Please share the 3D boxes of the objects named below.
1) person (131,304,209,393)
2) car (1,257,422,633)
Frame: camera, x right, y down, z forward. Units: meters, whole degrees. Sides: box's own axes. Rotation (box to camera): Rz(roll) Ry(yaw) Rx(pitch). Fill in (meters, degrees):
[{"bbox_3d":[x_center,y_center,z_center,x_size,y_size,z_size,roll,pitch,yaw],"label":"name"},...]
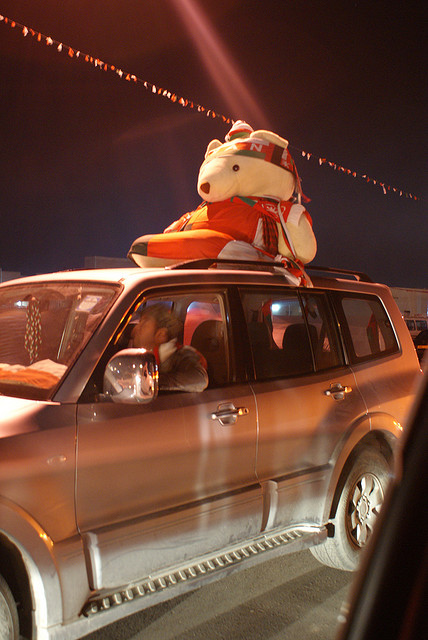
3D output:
[{"bbox_3d":[-0.277,0.150,2.808,0.467,0.480,0.847,-3,-1,-28],"label":"person"},{"bbox_3d":[0.068,0.416,3.195,3.191,1.488,1.831,5,-8,-40],"label":"car"}]
